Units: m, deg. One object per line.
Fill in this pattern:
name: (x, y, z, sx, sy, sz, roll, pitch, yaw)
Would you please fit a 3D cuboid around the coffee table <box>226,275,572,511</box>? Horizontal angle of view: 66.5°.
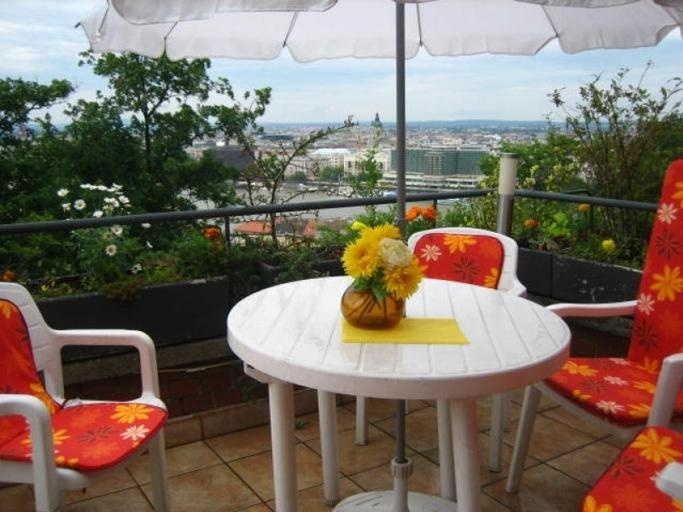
coffee table: (0.178, 0.548, 1.873, 1.155, 0.728, 0.859, 2, 14, 17)
